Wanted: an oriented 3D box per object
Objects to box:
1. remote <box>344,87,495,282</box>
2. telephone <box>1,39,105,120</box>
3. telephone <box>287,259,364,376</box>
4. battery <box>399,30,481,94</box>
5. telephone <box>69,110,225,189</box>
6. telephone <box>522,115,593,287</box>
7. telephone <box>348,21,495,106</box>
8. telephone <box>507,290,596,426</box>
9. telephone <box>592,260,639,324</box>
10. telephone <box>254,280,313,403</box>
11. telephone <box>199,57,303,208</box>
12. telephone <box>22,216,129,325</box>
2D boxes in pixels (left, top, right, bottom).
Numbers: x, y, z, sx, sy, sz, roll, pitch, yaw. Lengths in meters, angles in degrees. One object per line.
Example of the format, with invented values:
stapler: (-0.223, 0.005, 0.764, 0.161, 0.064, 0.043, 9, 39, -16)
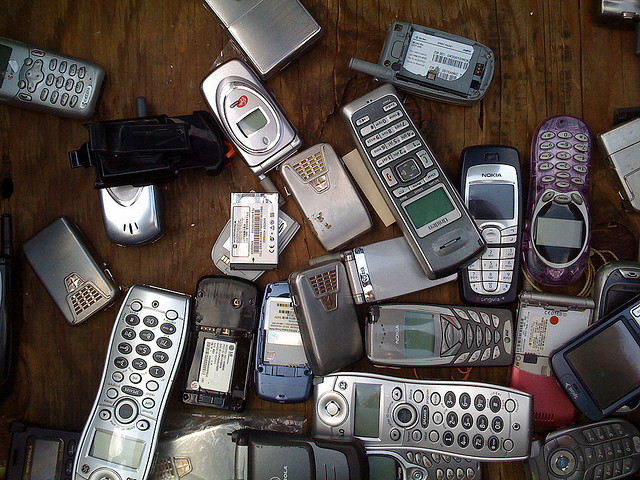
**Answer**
remote: (0.299, -0.182, 1.993, 0.203, 0.526, 0.375, -26, 26, -14)
telephone: (-0.892, -0.525, 2.090, 0.349, 0.192, 0.099, 13, -3, -1)
telephone: (0.022, 0.205, 1.931, 0.191, 0.387, 0.092, -11, 1, -9)
battery: (0.395, -0.577, 2.084, 0.254, 0.179, 0.081, 16, -2, 4)
telephone: (-0.543, -0.280, 2.069, 0.412, 0.277, 0.167, -8, 0, -5)
telephone: (0.775, -0.127, 2.072, 0.195, 0.440, 0.340, 0, 33, 36)
telephone: (0.345, -0.580, 2.145, 0.424, 0.266, 0.150, 19, -1, 0)
telephone: (0.755, 0.395, 2.069, 0.241, 0.135, 0.470, -2, 44, 32)
telephone: (0.953, 0.175, 2.034, 0.090, 0.244, 0.030, 20, 3, -8)
telephone: (-0.105, 0.339, 2.093, 0.191, 0.100, 0.447, 5, 51, 1)
telephone: (-0.209, -0.357, 2.036, 0.201, 0.489, 0.093, -30, 4, 5)
telephone: (-0.828, 0.093, 2.174, 0.232, 0.405, 0.126, -29, -2, -1)
